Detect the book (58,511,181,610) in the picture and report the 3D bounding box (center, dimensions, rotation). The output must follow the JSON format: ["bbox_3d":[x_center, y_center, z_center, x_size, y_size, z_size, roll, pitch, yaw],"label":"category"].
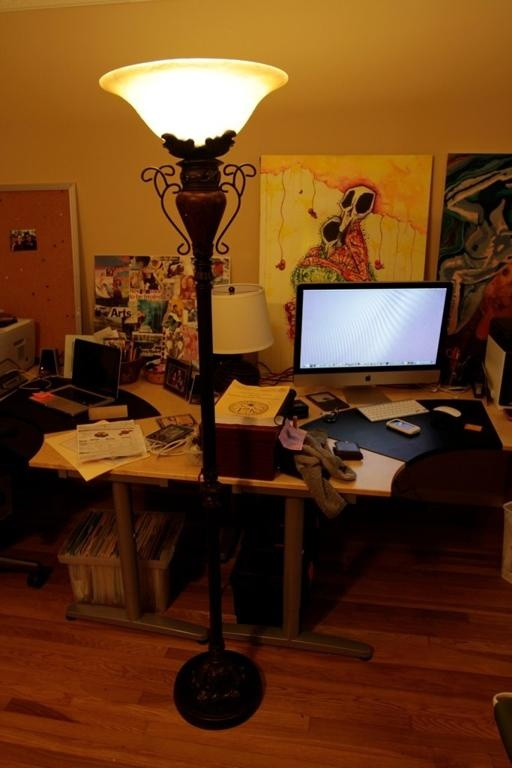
[{"bbox_3d":[-0.511,0.640,2.256,0.313,0.201,0.409,-1,8,-7],"label":"book"}]

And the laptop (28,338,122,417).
[{"bbox_3d":[-0.702,-0.021,2.401,0.386,0.286,0.328,15,14,34],"label":"laptop"}]

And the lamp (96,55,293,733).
[{"bbox_3d":[-0.132,0.186,1.438,0.366,1.702,0.577,-2,13,-9],"label":"lamp"}]

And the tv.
[{"bbox_3d":[0.463,-0.177,2.323,0.485,0.341,0.145,-3,24,-5],"label":"tv"}]

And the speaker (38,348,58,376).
[{"bbox_3d":[-0.963,-0.106,2.707,0.114,0.142,0.101,-2,14,-13],"label":"speaker"}]

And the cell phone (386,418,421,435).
[{"bbox_3d":[0.522,0.139,2.047,0.052,0.020,0.085,-18,28,-39],"label":"cell phone"}]
